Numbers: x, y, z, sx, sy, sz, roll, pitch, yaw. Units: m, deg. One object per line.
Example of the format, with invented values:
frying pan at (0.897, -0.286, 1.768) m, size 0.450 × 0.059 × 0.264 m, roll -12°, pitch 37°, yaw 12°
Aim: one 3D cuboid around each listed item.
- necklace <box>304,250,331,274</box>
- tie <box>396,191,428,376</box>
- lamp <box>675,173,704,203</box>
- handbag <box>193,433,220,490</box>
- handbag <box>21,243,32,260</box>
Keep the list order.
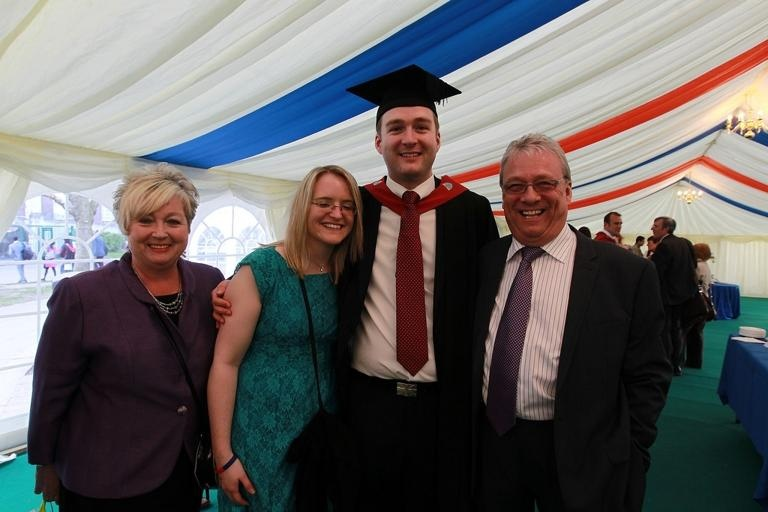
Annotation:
necklace at (-0.455, 0.045, 3.536) m, size 0.122 × 0.171 × 0.153 m, roll 3°, pitch 2°, yaw -11°
tie at (0.181, 0.165, 3.616) m, size 0.211 × 1.265 × 0.210 m, roll 0°, pitch 0°, yaw 1°
lamp at (9.196, -2.104, 15.862) m, size 0.710 × 1.314 × 0.716 m, roll -4°, pitch -17°, yaw 26°
handbag at (-1.127, 1.321, 3.405) m, size 0.119 × 0.271 × 0.292 m, roll 6°, pitch -19°, yaw -38°
handbag at (-3.727, -0.050, 5.486) m, size 0.113 × 0.133 × 0.144 m, roll 1°, pitch -6°, yaw -43°
